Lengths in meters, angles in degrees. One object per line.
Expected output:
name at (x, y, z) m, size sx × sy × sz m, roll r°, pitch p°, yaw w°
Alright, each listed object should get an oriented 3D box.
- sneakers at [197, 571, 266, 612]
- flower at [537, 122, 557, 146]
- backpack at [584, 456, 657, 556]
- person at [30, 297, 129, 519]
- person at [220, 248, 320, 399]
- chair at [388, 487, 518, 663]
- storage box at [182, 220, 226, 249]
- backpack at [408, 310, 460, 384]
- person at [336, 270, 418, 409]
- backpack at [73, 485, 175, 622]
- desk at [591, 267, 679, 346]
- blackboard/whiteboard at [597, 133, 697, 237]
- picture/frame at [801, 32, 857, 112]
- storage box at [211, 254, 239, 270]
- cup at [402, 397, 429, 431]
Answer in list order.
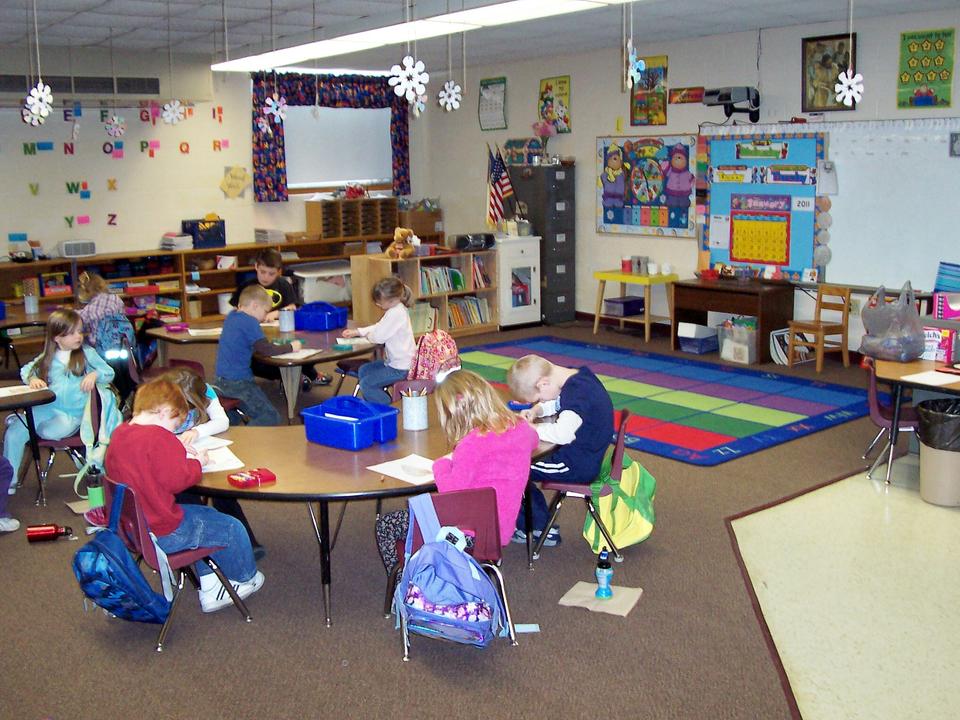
sneakers at (-1.304, 1.224, 4.248) m, size 0.406 × 0.188 × 0.141 m, roll -7°, pitch 13°, yaw -30°
flower at (1.004, -3.405, 11.642) m, size 0.309 × 0.410 × 0.180 m, roll 4°, pitch 14°, yaw 18°
backpack at (0.921, 0.925, 4.891) m, size 0.389 × 0.570 × 0.182 m, roll 12°, pitch -5°, yaw 31°
person at (-2.929, 0.362, 5.594) m, size 0.625 × 1.394 × 0.581 m, roll 9°, pitch -7°, yaw -33°
person at (-1.973, -0.497, 7.738) m, size 0.682 × 1.177 × 0.524 m, roll -3°, pitch -20°, yaw -28°
chair at (-0.125, 0.920, 3.777) m, size 0.705 × 1.040 × 0.666 m, roll -2°, pitch 9°, yaw 0°
storage box at (-3.972, -1.900, 11.321) m, size 0.678 × 0.535 × 0.388 m, roll -5°, pitch 19°, yaw -22°
backpack at (-0.417, -0.132, 6.816) m, size 0.454 × 0.835 × 0.692 m, roll 1°, pitch 8°, yaw 4°
person at (-0.890, -0.047, 6.772) m, size 0.654 × 1.311 × 0.551 m, roll 5°, pitch 7°, yaw -2°
backpack at (-1.675, 0.951, 3.737) m, size 0.450 × 0.773 × 0.224 m, roll 4°, pitch 13°, yaw 18°
desk at (2.098, -0.867, 10.795) m, size 0.885 × 1.240 × 1.373 m, roll -14°, pitch 19°, yaw -43°
blackboard/whiteboard at (2.345, -2.429, 10.654) m, size 0.151 × 1.324 × 1.356 m, roll -12°, pitch 15°, yaw -43°
picture/frame at (3.953, -3.263, 8.898) m, size 0.141 × 0.873 × 0.615 m, roll -8°, pitch 15°, yaw -31°
storage box at (-3.659, -1.407, 11.306) m, size 0.224 × 0.153 × 0.232 m, roll 3°, pitch 7°, yaw 34°
cup at (-0.358, 0.297, 4.441) m, size 0.159 × 0.187 × 0.157 m, roll 0°, pitch 11°, yaw 0°
